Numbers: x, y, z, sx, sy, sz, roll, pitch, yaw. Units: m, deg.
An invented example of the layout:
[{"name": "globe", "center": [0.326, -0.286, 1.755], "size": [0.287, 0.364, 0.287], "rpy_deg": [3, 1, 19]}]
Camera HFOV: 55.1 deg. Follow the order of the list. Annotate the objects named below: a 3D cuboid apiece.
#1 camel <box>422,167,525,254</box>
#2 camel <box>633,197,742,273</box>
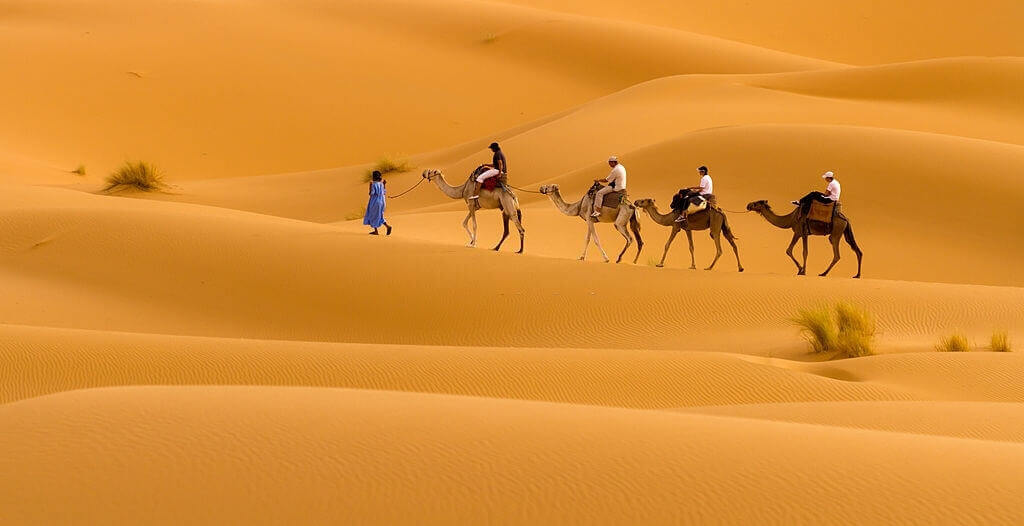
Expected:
[{"name": "camel", "center": [-1.330, -1.892, 37.817], "size": [3.482, 3.114, 8.267], "rpy_deg": [4, -2, 1]}, {"name": "camel", "center": [6.151, -1.025, 34.745], "size": [4.000, 2.220, 0.915], "rpy_deg": [4, 6, 31]}]
